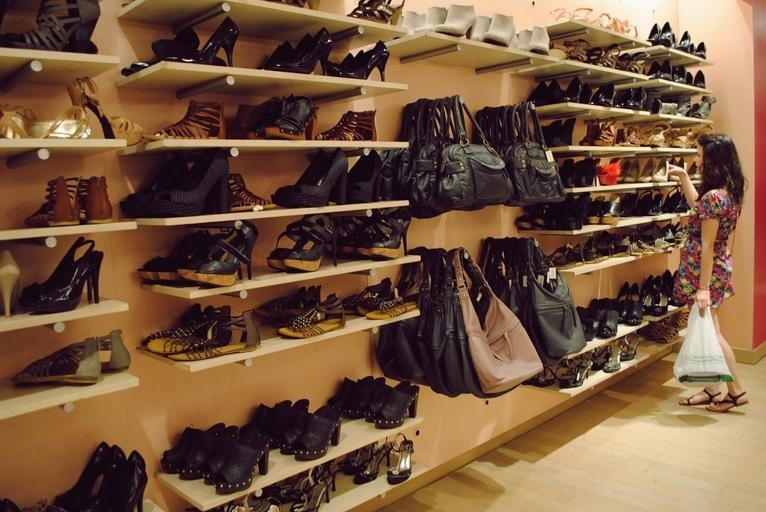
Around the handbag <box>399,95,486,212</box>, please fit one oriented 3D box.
[{"bbox_3d":[0.554,-0.707,3.544,0.391,0.682,0.712,16,20,42],"label":"handbag"}]

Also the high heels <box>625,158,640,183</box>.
[{"bbox_3d":[2.541,-0.860,5.272,0.089,0.276,0.101,2,-23,39],"label":"high heels"}]

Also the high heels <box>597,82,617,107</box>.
[{"bbox_3d":[1.940,-1.389,4.477,0.104,0.295,0.084,9,-16,23],"label":"high heels"}]

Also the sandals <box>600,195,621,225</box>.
[{"bbox_3d":[2.143,-0.401,4.776,0.139,0.173,0.420,-1,2,35],"label":"sandals"}]

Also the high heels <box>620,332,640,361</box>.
[{"bbox_3d":[2.478,0.906,5.117,0.150,0.186,0.446,-2,-4,33],"label":"high heels"}]

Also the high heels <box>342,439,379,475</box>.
[{"bbox_3d":[-0.112,1.308,3.438,0.105,0.139,0.355,2,2,33],"label":"high heels"}]

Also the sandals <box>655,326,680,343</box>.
[{"bbox_3d":[3.145,0.859,5.737,0.185,0.060,0.198,16,43,31],"label":"sandals"}]

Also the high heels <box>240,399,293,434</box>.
[{"bbox_3d":[-0.646,0.923,3.042,0.126,0.143,0.347,6,1,35],"label":"high heels"}]

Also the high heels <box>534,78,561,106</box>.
[{"bbox_3d":[1.346,-1.324,4.245,0.168,0.123,0.297,9,24,25],"label":"high heels"}]

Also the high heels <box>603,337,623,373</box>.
[{"bbox_3d":[2.172,0.931,4.848,0.158,0.199,0.524,-1,2,25],"label":"high heels"}]

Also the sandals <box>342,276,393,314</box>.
[{"bbox_3d":[-0.067,0.224,3.346,0.194,0.094,0.288,11,21,34],"label":"sandals"}]

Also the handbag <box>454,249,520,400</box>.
[{"bbox_3d":[0.572,0.399,3.422,0.202,0.827,0.467,-24,-13,34],"label":"handbag"}]

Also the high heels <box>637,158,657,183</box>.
[{"bbox_3d":[2.680,-0.878,5.250,0.124,0.166,0.414,-2,29,43],"label":"high heels"}]

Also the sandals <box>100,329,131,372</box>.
[{"bbox_3d":[-1.303,0.447,2.486,0.167,0.207,0.099,8,16,38],"label":"sandals"}]

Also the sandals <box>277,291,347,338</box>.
[{"bbox_3d":[-0.384,0.323,2.954,0.186,0.142,0.348,9,11,40],"label":"sandals"}]

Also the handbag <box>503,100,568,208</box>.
[{"bbox_3d":[1.087,-0.760,3.871,0.530,0.744,0.319,-3,0,-36],"label":"handbag"}]

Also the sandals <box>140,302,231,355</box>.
[{"bbox_3d":[-1.011,0.380,2.698,0.423,0.165,0.231,-13,26,-40],"label":"sandals"}]

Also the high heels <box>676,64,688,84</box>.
[{"bbox_3d":[3.085,-1.877,5.381,0.110,0.140,0.333,7,23,30],"label":"high heels"}]

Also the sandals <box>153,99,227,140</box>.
[{"bbox_3d":[-0.933,-0.684,2.630,0.481,0.198,0.153,-5,12,-33],"label":"sandals"}]

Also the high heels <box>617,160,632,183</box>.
[{"bbox_3d":[2.436,-0.847,5.226,0.106,0.265,0.088,6,2,-39],"label":"high heels"}]

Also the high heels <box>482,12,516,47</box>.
[{"bbox_3d":[0.809,-1.550,3.571,0.118,0.157,0.373,6,15,23],"label":"high heels"}]

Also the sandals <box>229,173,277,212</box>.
[{"bbox_3d":[-0.696,-0.337,2.828,0.133,0.161,0.379,3,4,44],"label":"sandals"}]

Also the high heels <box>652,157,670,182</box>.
[{"bbox_3d":[2.818,-0.872,5.228,0.115,0.135,0.353,4,39,35],"label":"high heels"}]

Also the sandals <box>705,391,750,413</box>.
[{"bbox_3d":[3.204,1.332,4.853,0.433,0.166,0.157,-12,6,-4],"label":"sandals"}]

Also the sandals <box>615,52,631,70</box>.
[{"bbox_3d":[2.158,-1.733,4.650,0.114,0.194,0.070,13,-5,4],"label":"sandals"}]

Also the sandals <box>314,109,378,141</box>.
[{"bbox_3d":[-0.185,-0.791,3.149,0.473,0.181,0.160,1,8,-5],"label":"sandals"}]

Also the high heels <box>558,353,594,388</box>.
[{"bbox_3d":[1.659,0.958,4.470,0.175,0.126,0.494,-5,4,32],"label":"high heels"}]

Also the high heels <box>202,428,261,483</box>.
[{"bbox_3d":[-0.741,1.064,2.722,0.179,0.115,0.300,17,25,23],"label":"high heels"}]

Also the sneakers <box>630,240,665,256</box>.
[{"bbox_3d":[2.646,-0.092,5.204,0.387,0.153,0.124,-4,7,20],"label":"sneakers"}]

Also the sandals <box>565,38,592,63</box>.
[{"bbox_3d":[1.657,-1.736,4.395,0.168,0.134,0.326,3,27,22],"label":"sandals"}]

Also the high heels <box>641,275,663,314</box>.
[{"bbox_3d":[2.885,0.415,5.581,0.172,0.206,0.532,5,42,23],"label":"high heels"}]

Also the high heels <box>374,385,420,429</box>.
[{"bbox_3d":[0.087,0.940,3.301,0.140,0.153,0.368,1,3,31],"label":"high heels"}]

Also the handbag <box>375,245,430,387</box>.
[{"bbox_3d":[0.158,0.491,3.571,0.311,0.377,0.971,9,15,11],"label":"handbag"}]

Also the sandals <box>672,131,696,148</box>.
[{"bbox_3d":[3.293,-1.269,5.693,0.153,0.179,0.459,3,8,40],"label":"sandals"}]

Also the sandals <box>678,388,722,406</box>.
[{"bbox_3d":[3.005,1.315,4.942,0.416,0.173,0.157,-2,-2,-2],"label":"sandals"}]

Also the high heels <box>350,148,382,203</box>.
[{"bbox_3d":[-0.114,-0.522,3.121,0.158,0.395,0.133,2,5,-25],"label":"high heels"}]

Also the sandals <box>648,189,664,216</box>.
[{"bbox_3d":[2.850,-0.554,5.422,0.126,0.114,0.350,3,53,29],"label":"sandals"}]

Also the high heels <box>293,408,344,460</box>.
[{"bbox_3d":[-0.358,0.990,2.982,0.140,0.137,0.336,15,17,21],"label":"high heels"}]

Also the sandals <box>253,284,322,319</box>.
[{"bbox_3d":[-0.547,0.272,3.052,0.417,0.126,0.164,-13,21,-24],"label":"sandals"}]

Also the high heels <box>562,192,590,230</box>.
[{"bbox_3d":[1.640,-0.372,4.416,0.193,0.208,0.504,0,7,19],"label":"high heels"}]

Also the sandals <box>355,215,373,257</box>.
[{"bbox_3d":[-0.117,-0.118,3.154,0.083,0.104,0.249,2,50,-16],"label":"sandals"}]

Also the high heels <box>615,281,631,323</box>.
[{"bbox_3d":[2.418,0.468,5.234,0.140,0.189,0.462,1,36,40],"label":"high heels"}]

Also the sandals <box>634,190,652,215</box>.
[{"bbox_3d":[2.713,-0.538,5.393,0.132,0.149,0.392,4,19,29],"label":"sandals"}]

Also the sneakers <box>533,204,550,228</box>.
[{"bbox_3d":[1.339,-0.337,4.336,0.085,0.099,0.241,3,40,11],"label":"sneakers"}]

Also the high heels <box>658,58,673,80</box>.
[{"bbox_3d":[2.881,-1.872,5.276,0.167,0.211,0.255,5,4,30],"label":"high heels"}]

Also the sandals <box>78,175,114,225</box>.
[{"bbox_3d":[-1.381,-0.276,2.480,0.137,0.206,0.276,-9,14,-27],"label":"sandals"}]

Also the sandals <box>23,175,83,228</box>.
[{"bbox_3d":[-1.522,-0.252,2.402,0.245,0.225,0.296,-11,15,-35],"label":"sandals"}]

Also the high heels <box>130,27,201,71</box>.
[{"bbox_3d":[-1.092,-1.023,2.586,0.415,0.165,0.141,-20,34,-9],"label":"high heels"}]

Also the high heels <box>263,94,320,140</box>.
[{"bbox_3d":[-0.483,-0.726,2.736,0.151,0.152,0.368,5,8,29],"label":"high heels"}]

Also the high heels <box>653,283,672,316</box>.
[{"bbox_3d":[3.011,0.479,5.584,0.142,0.194,0.466,1,12,27],"label":"high heels"}]

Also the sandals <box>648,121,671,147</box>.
[{"bbox_3d":[2.815,-1.241,5.259,0.147,0.182,0.443,5,32,31],"label":"sandals"}]

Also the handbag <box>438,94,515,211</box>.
[{"bbox_3d":[0.609,-0.707,3.495,0.621,0.774,0.313,-10,5,-40],"label":"handbag"}]
